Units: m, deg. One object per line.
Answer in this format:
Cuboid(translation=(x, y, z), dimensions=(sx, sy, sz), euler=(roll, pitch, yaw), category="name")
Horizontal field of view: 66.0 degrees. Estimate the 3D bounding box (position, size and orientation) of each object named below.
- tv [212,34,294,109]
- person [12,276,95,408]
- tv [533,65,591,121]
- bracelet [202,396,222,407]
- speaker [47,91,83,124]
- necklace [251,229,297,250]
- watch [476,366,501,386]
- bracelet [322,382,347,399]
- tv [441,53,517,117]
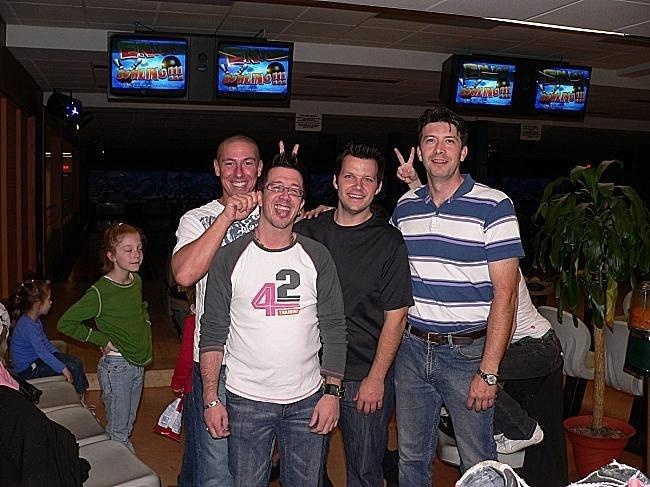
Cuboid(translation=(-0.787, -1.996, 5.633), dimensions=(1.078, 0.906, 0.548), euler=(2, 14, -10), category="tv")
Cuboid(translation=(-1.989, 0.774, 3.672), dimensions=(0.549, 0.948, 0.323), euler=(3, 8, -23), category="person")
Cuboid(translation=(2.891, -1.860, 6.105), dimensions=(0.841, 0.615, 0.134), euler=(-5, 12, -25), category="tv")
Cuboid(translation=(-0.487, 0.693, 2.195), dimensions=(0.047, 0.017, 0.048), euler=(-27, -6, 32), category="bracelet")
Cuboid(translation=(-3.634, -1.909, 6.979), dimensions=(0.483, 0.359, 0.196), euler=(5, 12, 22), category="speaker")
Cuboid(translation=(-0.230, -0.002, 2.231), dimensions=(0.109, 0.028, 0.115), euler=(17, -39, -22), category="necklace")
Cuboid(translation=(0.768, 0.618, 2.351), dimensions=(0.080, 0.041, 0.079), euler=(19, -5, -12), category="watch")
Cuboid(translation=(0.041, 0.656, 2.235), dimensions=(0.072, 0.076, 0.074), euler=(8, -8, -3), category="bracelet")
Cuboid(translation=(1.865, -1.870, 6.002), dimensions=(0.795, 0.582, 0.464), euler=(2, 3, -5), category="tv")
